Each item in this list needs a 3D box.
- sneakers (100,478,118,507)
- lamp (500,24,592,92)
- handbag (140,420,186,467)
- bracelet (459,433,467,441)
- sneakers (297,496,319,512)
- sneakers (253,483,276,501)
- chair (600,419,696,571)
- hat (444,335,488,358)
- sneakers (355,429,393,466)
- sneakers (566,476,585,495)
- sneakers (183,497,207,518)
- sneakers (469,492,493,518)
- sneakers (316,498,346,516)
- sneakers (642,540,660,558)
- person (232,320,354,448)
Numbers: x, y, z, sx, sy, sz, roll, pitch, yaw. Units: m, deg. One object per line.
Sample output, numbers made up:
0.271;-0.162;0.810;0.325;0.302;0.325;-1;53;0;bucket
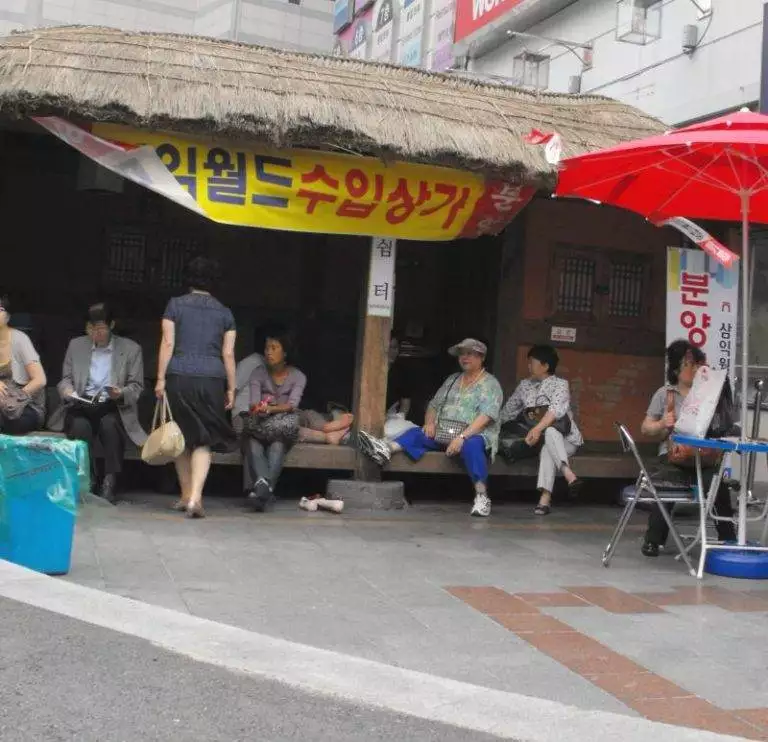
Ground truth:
-2.258;0.971;6.875;0.136;0.261;0.603;4;-1;-18;sneakers
2.607;-5.138;13.632;0.744;1.088;1.834;4;-1;-27;lamp
-1.658;0.552;6.331;0.270;0.339;0.354;4;-1;-36;handbag
0.710;0.598;7.508;0.064;0.058;0.015;-3;-12;15;bracelet
-0.670;1.169;7.342;0.077;0.078;0.206;0;3;-30;sneakers
-0.994;0.992;6.776;0.105;0.112;0.171;-1;-43;-7;sneakers
1.856;0.836;5.795;0.608;0.817;0.529;6;0;12;chair
0.834;-0.241;7.821;0.227;0.108;0.314;-6;-9;35;hat
-0.083;0.675;7.369;0.354;0.218;0.139;34;11;8;sneakers
1.738;1.053;7.662;0.130;0.122;0.350;27;-10;-6;sneakers
-1.449;1.066;6.462;0.088;0.115;0.248;1;7;-7;sneakers
0.886;1.247;7.690;0.204;0.217;0.532;0;-6;9;sneakers
-0.471;1.171;7.262;0.248;0.128;0.282;4;0;1;sneakers
1.943;1.302;6.127;0.137;0.098;0.099;6;5;22;sneakers
-1.110;0.168;7.762;0.936;1.045;1.292;-4;4;-17;person
